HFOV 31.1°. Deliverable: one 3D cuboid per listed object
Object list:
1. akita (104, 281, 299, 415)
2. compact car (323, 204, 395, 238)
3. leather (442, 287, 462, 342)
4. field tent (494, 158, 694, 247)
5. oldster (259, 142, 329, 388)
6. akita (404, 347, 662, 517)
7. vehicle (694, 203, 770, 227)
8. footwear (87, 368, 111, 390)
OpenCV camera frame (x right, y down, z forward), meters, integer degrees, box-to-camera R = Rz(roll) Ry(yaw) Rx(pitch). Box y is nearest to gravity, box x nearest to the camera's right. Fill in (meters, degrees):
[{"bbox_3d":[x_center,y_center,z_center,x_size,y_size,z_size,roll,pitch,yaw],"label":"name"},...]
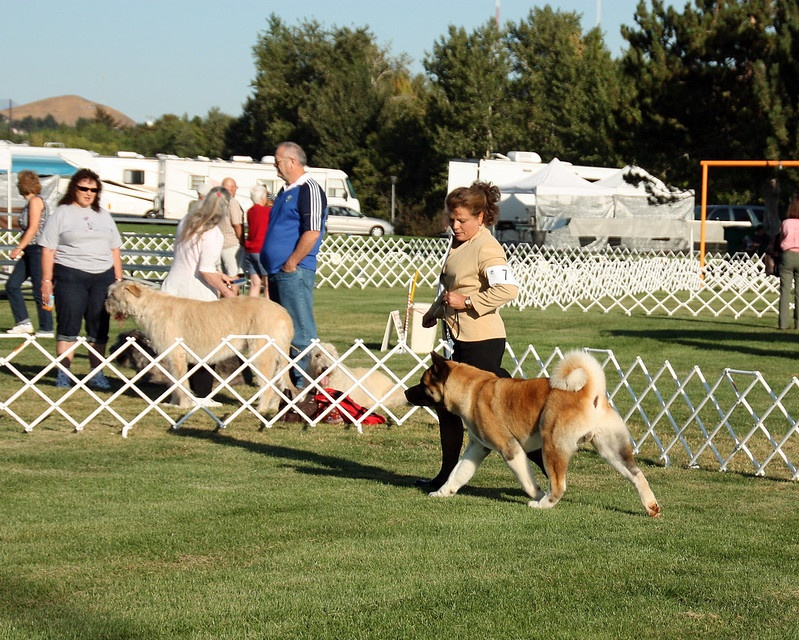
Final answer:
[{"bbox_3d":[-2.026,0.240,15.059,1.980,1.440,0.619,0,19,-11],"label":"akita"},{"bbox_3d":[-1.380,-2.992,43.623,2.429,0.949,1.092,-1,4,-11],"label":"compact car"},{"bbox_3d":[0.444,-0.015,12.714,0.079,0.389,0.197,-3,15,15],"label":"leather"},{"bbox_3d":[5.144,-2.193,34.548,4.969,2.445,3.959,-6,12,-24],"label":"field tent"},{"bbox_3d":[-1.069,-0.569,14.644,0.605,2.542,0.581,-8,17,-41],"label":"oldster"},{"bbox_3d":[1.144,0.901,12.416,2.076,1.472,0.704,3,9,23],"label":"akita"},{"bbox_3d":[8.281,-2.405,35.637,1.739,0.961,0.902,4,7,15],"label":"vehicle"},{"bbox_3d":[-3.318,0.632,15.759,0.145,0.210,0.447,-2,4,-22],"label":"footwear"}]
